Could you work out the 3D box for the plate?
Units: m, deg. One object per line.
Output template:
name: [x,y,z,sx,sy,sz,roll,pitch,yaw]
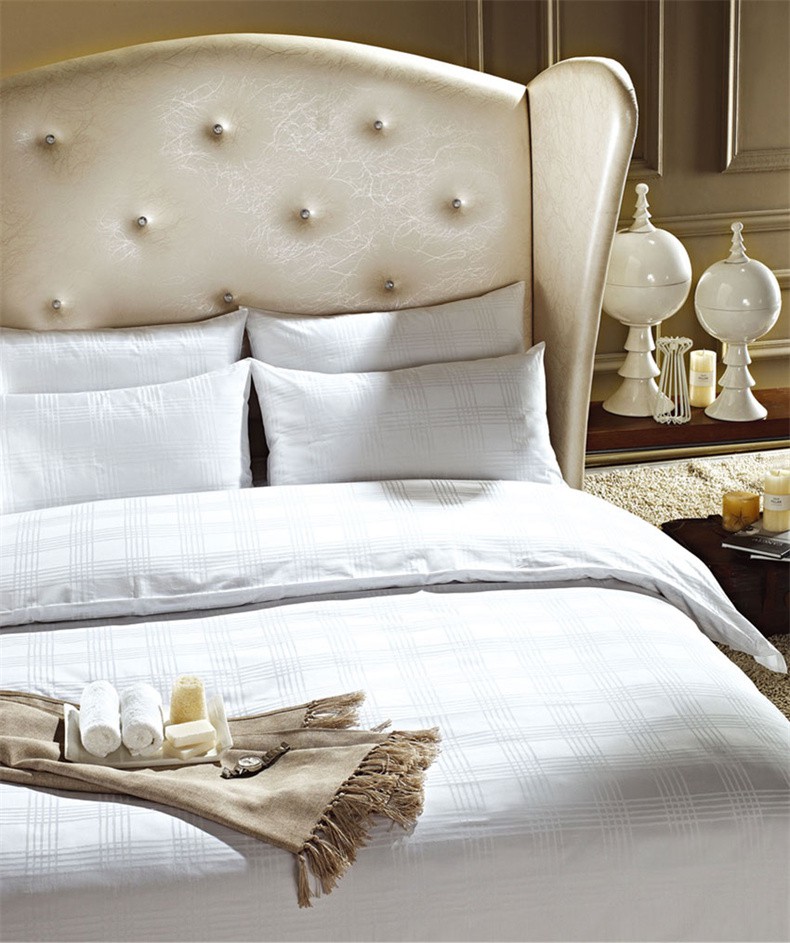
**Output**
plate: [-0.310,0.329,1.098,0.205,0.076,0.126,-3,-10,-11]
